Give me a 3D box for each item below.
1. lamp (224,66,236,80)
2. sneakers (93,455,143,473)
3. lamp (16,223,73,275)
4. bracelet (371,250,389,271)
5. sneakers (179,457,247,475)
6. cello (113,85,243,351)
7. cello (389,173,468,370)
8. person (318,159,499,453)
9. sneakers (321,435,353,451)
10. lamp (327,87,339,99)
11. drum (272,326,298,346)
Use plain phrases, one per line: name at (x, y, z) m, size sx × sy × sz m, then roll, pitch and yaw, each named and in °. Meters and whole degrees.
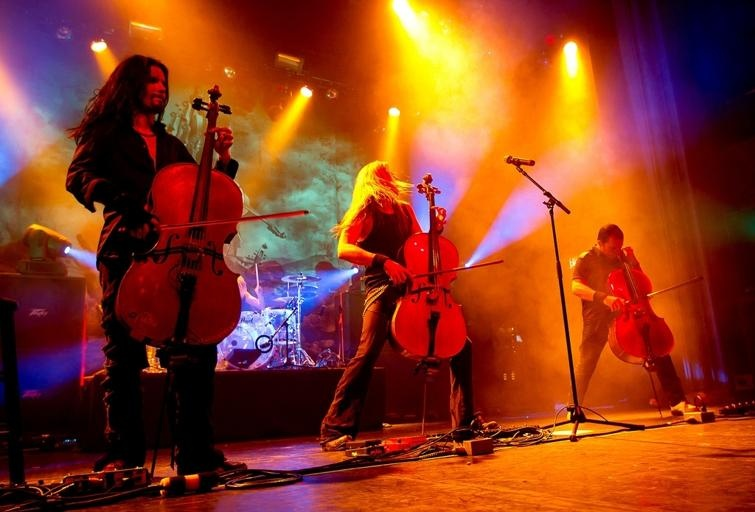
lamp at (-2.937, -3.626, 11.517) m, size 0.188 × 0.177 × 0.048 m, roll -40°, pitch 27°, yaw -20°
sneakers at (-1.840, 1.460, 4.079) m, size 0.222 × 0.052 × 0.138 m, roll 9°, pitch -50°, yaw 0°
lamp at (-4.485, -0.015, 7.971) m, size 0.615 × 0.642 × 0.553 m, roll 6°, pitch -15°, yaw 8°
bracelet at (0.016, 0.042, 5.303) m, size 0.152 × 0.149 × 0.113 m, roll 3°, pitch -19°, yaw 26°
sneakers at (-1.192, 1.511, 4.288) m, size 0.486 × 0.149 × 0.165 m, roll 9°, pitch -20°, yaw -25°
cello at (-1.418, -0.378, 4.283) m, size 0.836 × 2.043 × 0.370 m, roll 2°, pitch -19°, yaw -17°
cello at (0.445, 0.052, 5.356) m, size 0.709 × 1.851 × 0.391 m, roll 8°, pitch -22°, yaw -32°
person at (0.150, 0.324, 5.570) m, size 0.860 × 2.803 × 1.339 m, roll -10°, pitch -15°, yaw 43°
sneakers at (-0.369, 1.691, 5.274) m, size 0.272 × 0.134 × 0.128 m, roll -3°, pitch -18°, yaw -2°
lamp at (-0.956, -3.456, 12.397) m, size 0.217 × 0.190 × 0.212 m, roll 0°, pitch -3°, yaw -10°
drum at (-1.652, 1.415, 10.271) m, size 0.409 × 0.237 × 0.694 m, roll 1°, pitch -5°, yaw -12°
